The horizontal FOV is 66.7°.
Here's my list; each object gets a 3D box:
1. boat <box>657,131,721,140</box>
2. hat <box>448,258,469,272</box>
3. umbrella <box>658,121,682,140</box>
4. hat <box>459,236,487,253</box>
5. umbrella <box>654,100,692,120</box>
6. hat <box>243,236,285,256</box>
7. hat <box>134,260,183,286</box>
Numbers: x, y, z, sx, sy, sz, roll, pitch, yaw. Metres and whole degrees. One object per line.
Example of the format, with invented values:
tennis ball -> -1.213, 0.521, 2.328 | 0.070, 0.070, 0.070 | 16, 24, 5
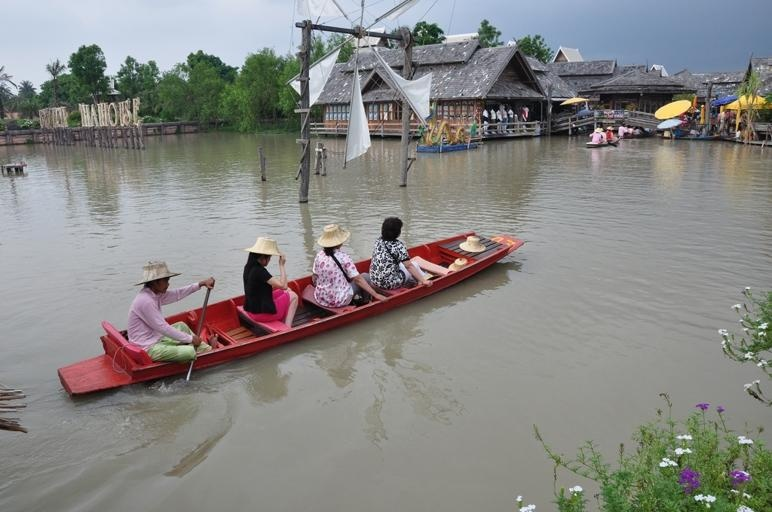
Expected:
boat -> 18.975, -7.493, 36.603 | 1.317, 0.517, 3.457 | -10, 17, -26
hat -> 1.558, 0.190, 12.560 | 0.363, 0.110, 0.252 | -20, 35, -16
umbrella -> 18.165, -8.151, 37.445 | 1.273, 0.903, 1.333 | -24, 22, -39
hat -> 1.958, -0.231, 13.293 | 0.444, 0.156, 0.472 | -4, 27, -1
umbrella -> 17.001, -8.656, 34.944 | 1.345, 0.934, 1.904 | -6, 15, -12
hat -> -2.110, -0.124, 10.723 | 0.682, 0.244, 0.691 | 14, 1, 11
hat -> -3.828, 0.324, 9.521 | 0.626, 0.252, 0.631 | -18, 3, 30
